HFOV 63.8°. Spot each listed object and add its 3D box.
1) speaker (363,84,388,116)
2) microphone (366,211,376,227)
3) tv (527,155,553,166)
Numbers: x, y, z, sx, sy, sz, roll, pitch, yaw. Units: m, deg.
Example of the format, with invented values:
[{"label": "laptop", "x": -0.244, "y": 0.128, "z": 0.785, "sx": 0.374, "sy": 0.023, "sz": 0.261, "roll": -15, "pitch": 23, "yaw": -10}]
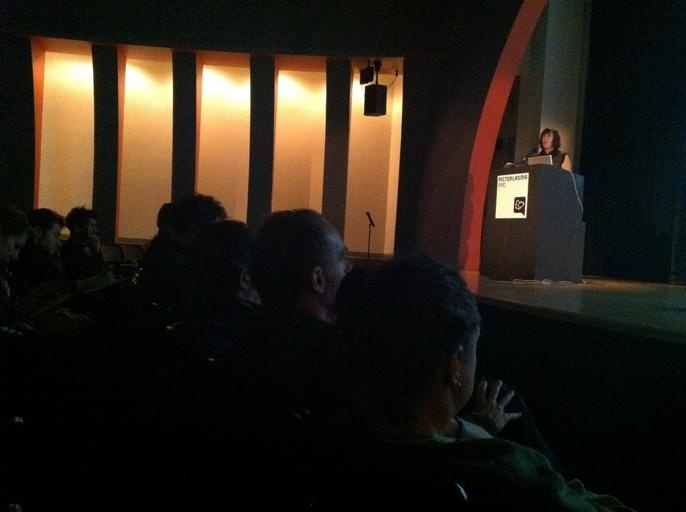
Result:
[{"label": "speaker", "x": 0.461, "y": -2.241, "z": 7.886, "sx": 0.326, "sy": 0.442, "sz": 0.364, "roll": 6, "pitch": 8, "yaw": -1}, {"label": "microphone", "x": 0.464, "y": -0.625, "z": 9.238, "sx": 0.087, "sy": 0.347, "sz": 0.082, "roll": -28, "pitch": 32, "yaw": -6}, {"label": "tv", "x": 1.619, "y": -0.788, "z": 4.545, "sx": 0.194, "sy": 0.104, "sz": 0.372, "roll": 9, "pitch": 9, "yaw": 16}]
